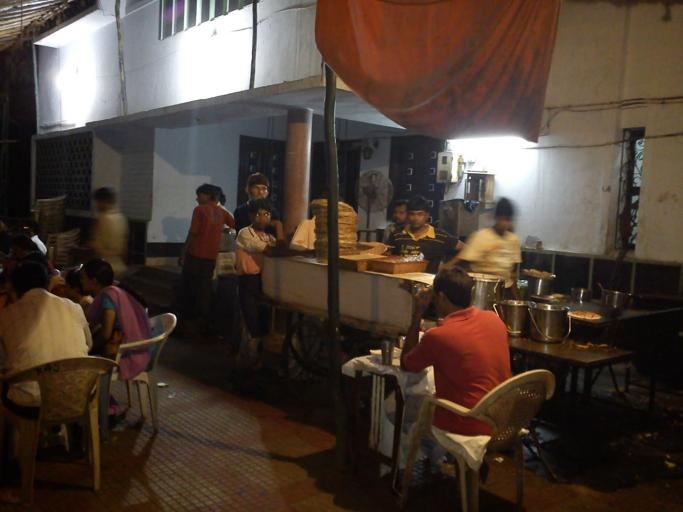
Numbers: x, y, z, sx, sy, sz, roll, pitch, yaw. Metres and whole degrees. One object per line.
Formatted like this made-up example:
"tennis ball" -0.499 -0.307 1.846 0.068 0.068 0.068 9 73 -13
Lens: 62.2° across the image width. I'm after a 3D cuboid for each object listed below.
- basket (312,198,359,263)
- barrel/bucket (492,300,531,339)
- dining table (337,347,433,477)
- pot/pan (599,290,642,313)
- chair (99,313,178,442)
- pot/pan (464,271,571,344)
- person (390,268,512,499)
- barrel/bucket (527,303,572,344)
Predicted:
"basket" -0.043 -0.284 7.066 0.606 0.946 0.713 -1 0 27
"barrel/bucket" 1.763 0.701 5.896 0.316 0.424 0.476 -2 0 -27
"dining table" 0.336 1.569 5.330 0.948 0.840 1.036 17 -19 -20
"pot/pan" 3.566 0.578 7.252 0.541 0.416 0.430 9 -7 -36
"chair" -2.121 1.290 6.499 1.038 1.484 1.076 3 -1 -18
"pot/pan" 1.675 0.498 5.916 0.488 0.531 1.243 -4 11 -41
"person" 0.995 1.032 5.014 0.809 1.842 0.950 -7 18 -24
"barrel/bucket" 2.114 0.724 5.813 0.434 0.369 0.429 5 -3 0
